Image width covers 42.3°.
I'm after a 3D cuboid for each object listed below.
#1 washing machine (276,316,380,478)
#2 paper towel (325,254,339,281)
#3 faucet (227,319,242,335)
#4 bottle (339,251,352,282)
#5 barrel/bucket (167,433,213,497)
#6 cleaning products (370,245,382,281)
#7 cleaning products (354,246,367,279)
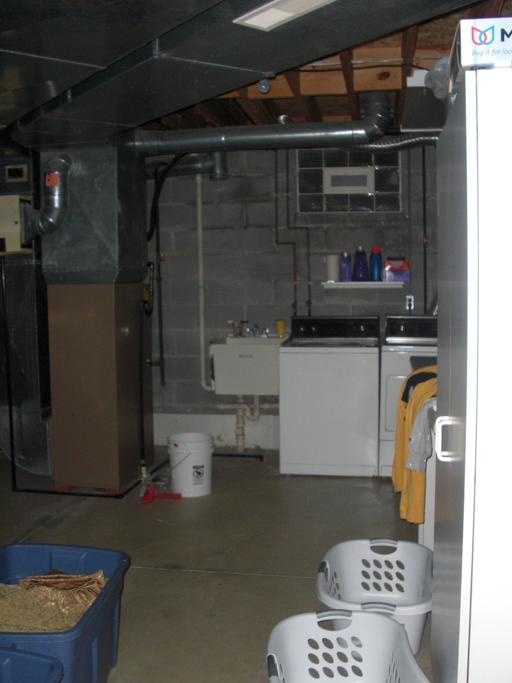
[{"bbox_3d":[0.520,0.347,4.482,0.659,1.051,0.602,0,3,5],"label":"washing machine"},{"bbox_3d":[0.548,-0.524,4.677,0.090,0.178,0.048,1,6,8],"label":"paper towel"},{"bbox_3d":[-0.161,-0.108,4.909,0.100,0.110,0.254,-1,6,-4],"label":"faucet"},{"bbox_3d":[0.654,-0.533,4.694,0.095,0.201,0.163,5,8,43],"label":"bottle"},{"bbox_3d":[-0.424,0.724,4.037,0.300,0.332,0.310,1,5,0],"label":"barrel/bucket"},{"bbox_3d":[0.851,-0.550,4.660,0.085,0.241,0.198,1,6,10],"label":"cleaning products"},{"bbox_3d":[0.738,-0.547,4.648,0.105,0.238,0.156,0,6,7],"label":"cleaning products"}]
